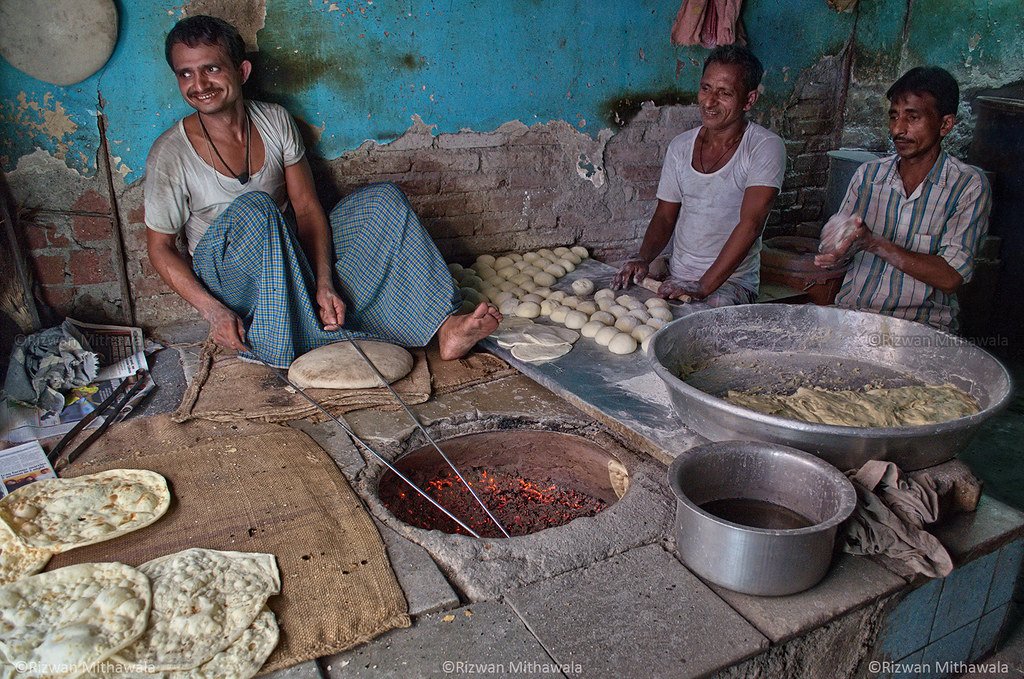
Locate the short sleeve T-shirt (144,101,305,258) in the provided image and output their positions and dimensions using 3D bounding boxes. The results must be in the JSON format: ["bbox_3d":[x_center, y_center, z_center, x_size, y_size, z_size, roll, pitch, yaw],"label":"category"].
[{"bbox_3d":[-1.594,-0.908,3.734,0.470,0.643,0.879,29,44,22],"label":"short sleeve T-shirt"}]

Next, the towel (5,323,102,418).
[{"bbox_3d":[-2.294,0.168,3.463,0.407,0.148,0.380,29,63,-10],"label":"towel"}]

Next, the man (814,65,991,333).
[{"bbox_3d":[1.962,-0.622,3.261,0.716,1.250,0.696,16,27,21],"label":"man"}]

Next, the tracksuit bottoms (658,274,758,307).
[{"bbox_3d":[1.155,-0.263,3.931,0.298,0.095,0.320,-8,20,-39],"label":"tracksuit bottoms"}]

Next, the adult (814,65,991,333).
[{"bbox_3d":[1.960,-0.623,3.264,0.709,1.250,0.693,16,27,21],"label":"adult"}]

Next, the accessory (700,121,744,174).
[{"bbox_3d":[1.178,-1.109,3.924,0.209,0.147,0.268,29,62,27],"label":"accessory"}]

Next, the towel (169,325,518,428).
[{"bbox_3d":[-0.860,0.166,3.422,1.527,0.244,0.646,-1,23,-16],"label":"towel"}]

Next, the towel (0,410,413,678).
[{"bbox_3d":[-1.001,0.623,2.376,0.907,0.078,0.888,-2,37,-31],"label":"towel"}]

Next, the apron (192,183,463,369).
[{"bbox_3d":[-1.066,-0.357,3.776,1.027,0.728,1.167,-21,44,-27],"label":"apron"}]

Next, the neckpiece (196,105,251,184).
[{"bbox_3d":[-1.517,-0.993,3.639,0.085,0.419,0.237,-2,25,46],"label":"neckpiece"}]

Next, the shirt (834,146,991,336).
[{"bbox_3d":[2.028,-0.492,3.613,0.785,0.910,0.516,18,43,38],"label":"shirt"}]

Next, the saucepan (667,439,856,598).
[{"bbox_3d":[0.832,0.600,2.342,0.607,0.263,0.571,0,20,9],"label":"saucepan"}]
